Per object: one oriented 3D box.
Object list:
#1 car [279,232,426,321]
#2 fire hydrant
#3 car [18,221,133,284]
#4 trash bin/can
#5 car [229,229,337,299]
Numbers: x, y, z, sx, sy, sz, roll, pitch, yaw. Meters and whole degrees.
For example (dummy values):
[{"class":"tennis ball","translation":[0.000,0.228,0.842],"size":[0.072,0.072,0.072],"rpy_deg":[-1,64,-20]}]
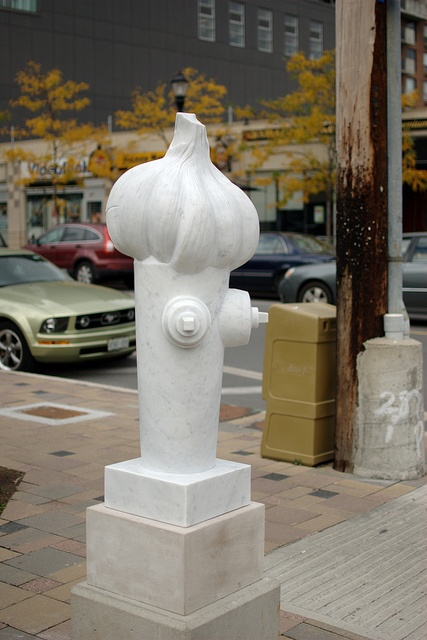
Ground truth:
[{"class":"car","translation":[2.007,-0.685,14.735],"size":[2.601,1.008,1.097],"rpy_deg":[3,6,25]},{"class":"fire hydrant","translation":[-0.093,-0.022,3.244],"size":[0.512,1.288,0.372],"rpy_deg":[0,5,-8]},{"class":"car","translation":[-3.014,-1.438,21.130],"size":[2.784,1.378,1.236],"rpy_deg":[4,8,27]},{"class":"trash bin/can","translation":[0.531,0.396,6.272],"size":[0.455,0.960,0.291],"rpy_deg":[1,5,6]},{"class":"car","translation":[1.140,-1.034,18.181],"size":[2.042,0.850,0.953],"rpy_deg":[3,3,7]}]
